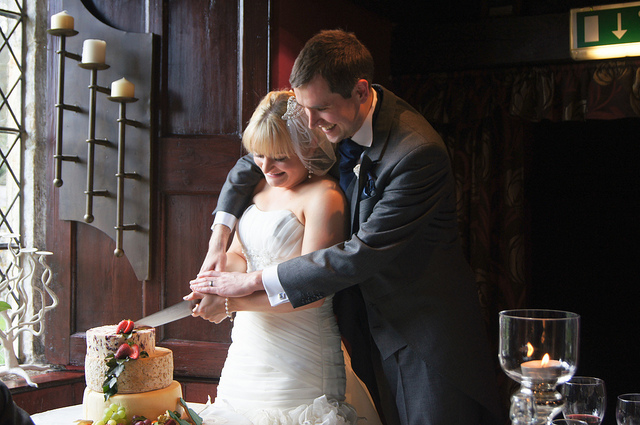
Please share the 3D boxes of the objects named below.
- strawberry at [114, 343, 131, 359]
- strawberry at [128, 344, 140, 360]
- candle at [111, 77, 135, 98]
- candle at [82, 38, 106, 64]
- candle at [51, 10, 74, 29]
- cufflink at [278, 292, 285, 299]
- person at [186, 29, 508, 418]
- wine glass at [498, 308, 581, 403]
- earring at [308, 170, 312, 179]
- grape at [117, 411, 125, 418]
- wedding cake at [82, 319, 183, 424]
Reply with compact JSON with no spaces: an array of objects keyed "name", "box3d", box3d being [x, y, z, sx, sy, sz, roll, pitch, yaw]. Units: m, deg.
[{"name":"strawberry","box3d":[-0.886,0.625,2.973,0.041,0.067,0.050,45,1,-18]},{"name":"strawberry","box3d":[-0.836,0.627,2.984,0.047,0.048,0.030,-13,5,19]},{"name":"candle","box3d":[-1.124,-0.706,3.748,0.100,0.100,0.103,4,6,22]},{"name":"candle","box3d":[-1.268,-0.899,3.706,0.120,0.142,0.128,4,-8,-22]},{"name":"candle","box3d":[-1.457,-1.079,3.722,0.096,0.097,0.098,7,14,18]},{"name":"cufflink","box3d":[-0.187,0.397,3.158,0.031,0.028,0.007,3,-2,6]},{"name":"person","box3d":[0.277,0.092,3.271,1.254,1.889,0.426,3,-2,-14]},{"name":"wine glass","box3d":[0.826,0.526,2.505,0.298,0.374,0.324,0,-7,7]},{"name":"earring","box3d":[-0.056,-0.186,3.416,0.022,0.052,0.020,-3,6,-2]},{"name":"grape","box3d":[-0.871,0.883,2.900,0.023,0.030,0.024,-12,2,3]},{"name":"wedding cake","box3d":[-0.870,0.684,3.101,0.430,0.396,0.434,2,-2,-43]}]
